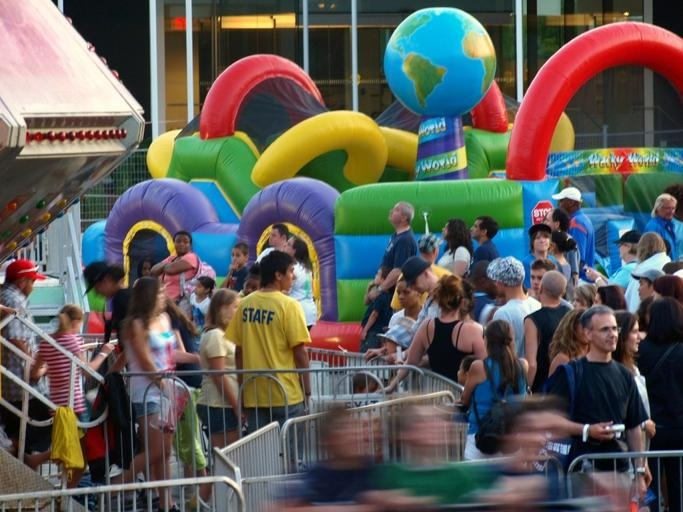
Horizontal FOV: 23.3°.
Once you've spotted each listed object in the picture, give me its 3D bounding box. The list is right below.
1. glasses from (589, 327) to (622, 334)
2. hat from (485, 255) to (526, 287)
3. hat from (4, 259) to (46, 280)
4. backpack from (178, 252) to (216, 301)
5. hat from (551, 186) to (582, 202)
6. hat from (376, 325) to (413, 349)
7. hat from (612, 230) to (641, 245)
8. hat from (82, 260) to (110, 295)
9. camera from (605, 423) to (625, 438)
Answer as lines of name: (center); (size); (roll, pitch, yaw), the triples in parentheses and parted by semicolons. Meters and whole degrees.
glasses: (2.773, 0.775, 17.446); (0.277, 0.067, 0.099); (-1, -5, -12)
hat: (1.910, 0.167, 18.929); (0.346, 0.360, 0.307); (-1, 3, -3)
hat: (-3.729, 0.204, 19.466); (0.389, 0.240, 0.284); (-2, 6, -14)
backpack: (-1.939, 0.291, 22.933); (0.555, 0.657, 0.413); (-8, 10, -17)
hat: (3.122, -0.887, 22.894); (0.328, 0.208, 0.221); (2, -4, 13)
hat: (0.676, 0.957, 19.569); (0.311, 0.166, 0.221); (3, 14, -43)
hat: (3.778, -0.248, 21.584); (0.246, 0.166, 0.194); (-1, -2, 5)
hat: (-2.886, 0.210, 19.785); (0.135, 0.308, 0.366); (32, 31, -12)
camera: (2.897, 1.846, 17.455); (0.197, 0.123, 0.079); (-1, 20, 21)
